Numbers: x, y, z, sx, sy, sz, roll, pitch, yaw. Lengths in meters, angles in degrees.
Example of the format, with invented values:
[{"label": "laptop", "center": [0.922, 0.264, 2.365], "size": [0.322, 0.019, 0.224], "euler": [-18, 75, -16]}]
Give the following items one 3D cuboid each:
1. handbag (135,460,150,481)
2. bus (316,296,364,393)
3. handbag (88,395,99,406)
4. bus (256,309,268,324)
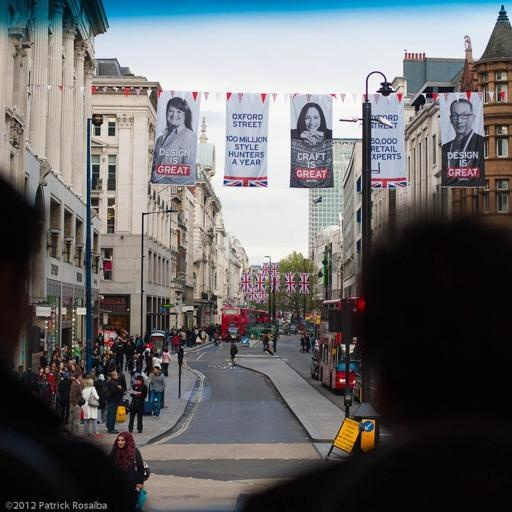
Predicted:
[{"label": "handbag", "center": [-1.407, 2.746, 10.810], "size": [0.158, 0.156, 0.396], "euler": [1, 7, -2]}, {"label": "bus", "center": [3.176, 3.244, 32.153], "size": [1.138, 3.183, 5.106], "euler": [1, -3, -3]}, {"label": "handbag", "center": [-3.562, 3.193, 18.833], "size": [0.188, 0.219, 0.087], "euler": [9, -31, -18]}, {"label": "bus", "center": [0.704, 7.177, 99.559], "size": [1.213, 1.229, 3.659], "euler": [-1, -8, -4]}]
